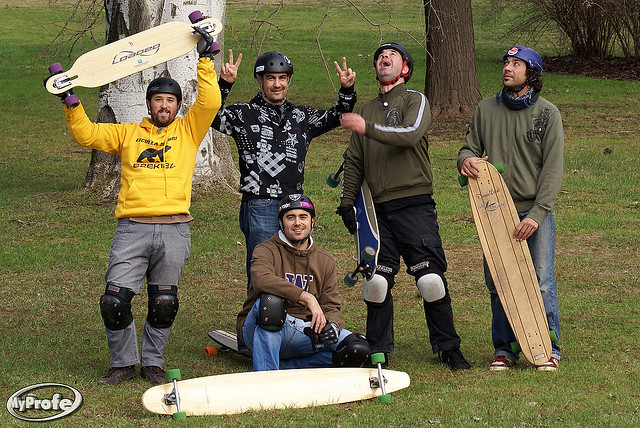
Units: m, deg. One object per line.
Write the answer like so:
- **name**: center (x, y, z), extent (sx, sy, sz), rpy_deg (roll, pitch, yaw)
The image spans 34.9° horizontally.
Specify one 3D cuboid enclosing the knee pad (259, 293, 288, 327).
- **knee pad**: center (-0.553, 1.113, 11.916), extent (0.323, 0.366, 0.157), rpy_deg (-1, 14, -4)
